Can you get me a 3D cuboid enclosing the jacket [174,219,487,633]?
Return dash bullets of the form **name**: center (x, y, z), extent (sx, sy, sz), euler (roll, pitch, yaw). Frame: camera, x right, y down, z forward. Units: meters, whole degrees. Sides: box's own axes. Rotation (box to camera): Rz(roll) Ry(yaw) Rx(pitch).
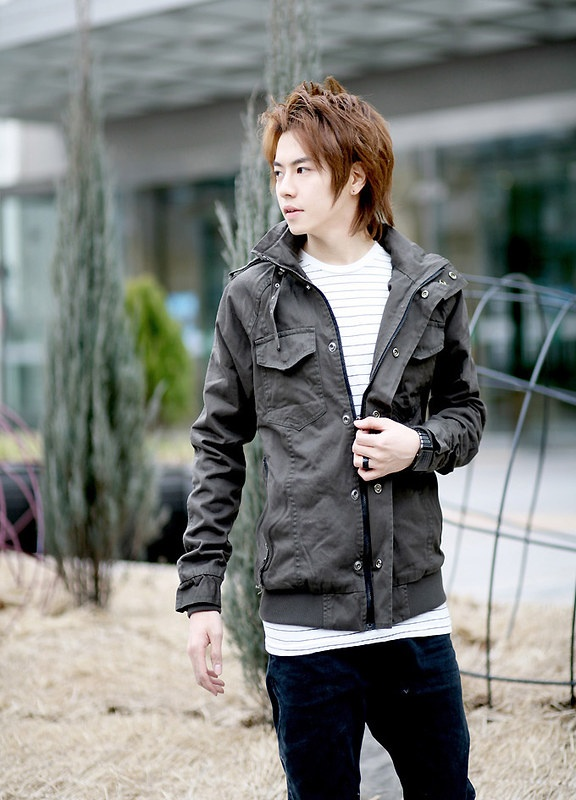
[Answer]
- **jacket**: center (0.101, 0.056, 3.398), extent (0.759, 0.930, 0.369), euler (-2, 7, 6)
